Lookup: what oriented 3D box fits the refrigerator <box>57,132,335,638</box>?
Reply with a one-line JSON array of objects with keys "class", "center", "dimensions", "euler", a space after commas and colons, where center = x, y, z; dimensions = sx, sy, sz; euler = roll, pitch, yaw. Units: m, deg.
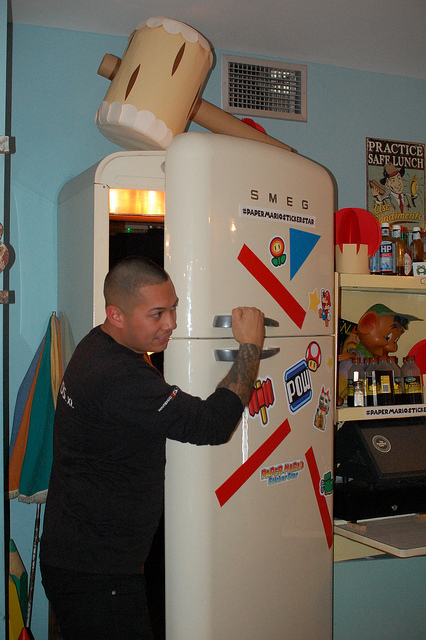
[{"class": "refrigerator", "center": [-0.038, 0.237, 1.613], "dimensions": [0.808, 1.395, 0.494], "euler": [0, 0, 7]}]

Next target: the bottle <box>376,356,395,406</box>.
[{"class": "bottle", "center": [0.629, 0.219, 2.030], "dimensions": [0.064, 0.177, 0.078], "euler": [0, 0, 17]}]

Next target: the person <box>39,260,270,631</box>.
[{"class": "person", "center": [-0.150, 0.291, 1.267], "dimensions": [0.520, 0.834, 0.295], "euler": [0, 0, 5]}]

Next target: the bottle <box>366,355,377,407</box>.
[{"class": "bottle", "center": [0.580, 0.221, 2.037], "dimensions": [0.036, 0.178, 0.145], "euler": [0, 0, 16]}]
